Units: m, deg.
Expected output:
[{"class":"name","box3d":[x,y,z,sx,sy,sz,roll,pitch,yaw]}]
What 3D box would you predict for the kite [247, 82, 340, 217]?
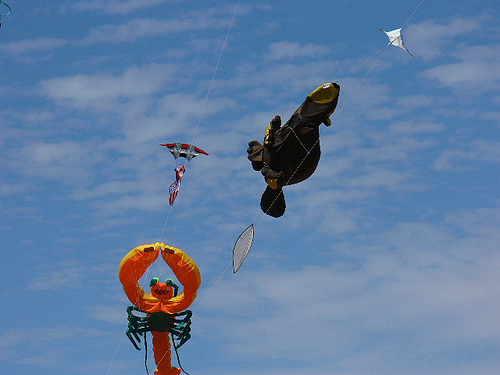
[{"class":"kite","box3d":[1.629,-1.470,51.439,2.710,5.453,1.995,31,-4,-1]}]
